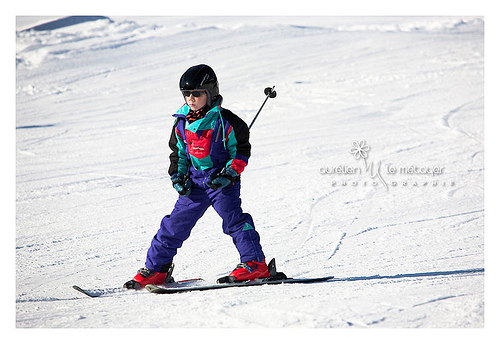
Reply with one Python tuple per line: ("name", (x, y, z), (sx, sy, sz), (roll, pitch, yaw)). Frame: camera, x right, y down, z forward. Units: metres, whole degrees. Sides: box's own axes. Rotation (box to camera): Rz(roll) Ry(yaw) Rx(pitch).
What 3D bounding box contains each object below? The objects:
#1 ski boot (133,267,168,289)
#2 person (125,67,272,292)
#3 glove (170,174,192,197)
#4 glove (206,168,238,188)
("ski boot", (-1.277, 1.369, 10.467), (0.679, 0.240, 0.221), (-1, 14, -42))
("person", (-0.710, 0.082, 10.285), (1.658, 2.802, 0.873), (-13, 18, 2))
("glove", (-0.893, 0.169, 10.296), (0.213, 0.291, 0.122), (-45, 8, -20))
("glove", (-0.343, 0.074, 10.269), (0.371, 0.132, 0.200), (-25, 0, -13))
